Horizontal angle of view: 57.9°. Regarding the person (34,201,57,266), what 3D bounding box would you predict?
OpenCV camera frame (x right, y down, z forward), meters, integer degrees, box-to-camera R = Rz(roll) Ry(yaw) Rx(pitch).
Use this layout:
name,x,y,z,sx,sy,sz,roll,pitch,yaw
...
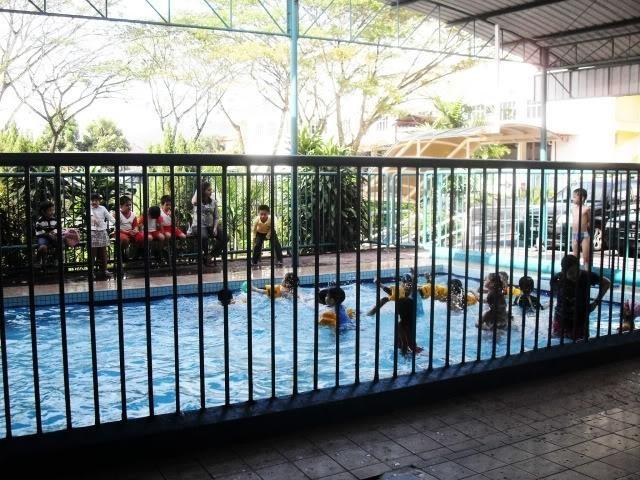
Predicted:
name,x,y,z,sx,sy,sz,roll,pitch,yaw
person,-3.929,-0.091,8.345,0.281,0.968,1.119,-6,6,-26

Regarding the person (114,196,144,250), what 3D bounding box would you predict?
name,x,y,z,sx,sy,sz,roll,pitch,yaw
person,-2.980,-0.298,9.193,0.310,0.843,0.875,-5,6,-17

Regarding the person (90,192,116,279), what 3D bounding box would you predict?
name,x,y,z,sx,sy,sz,roll,pitch,yaw
person,-3.244,-0.087,8.698,0.316,1.244,0.953,-5,6,-19
